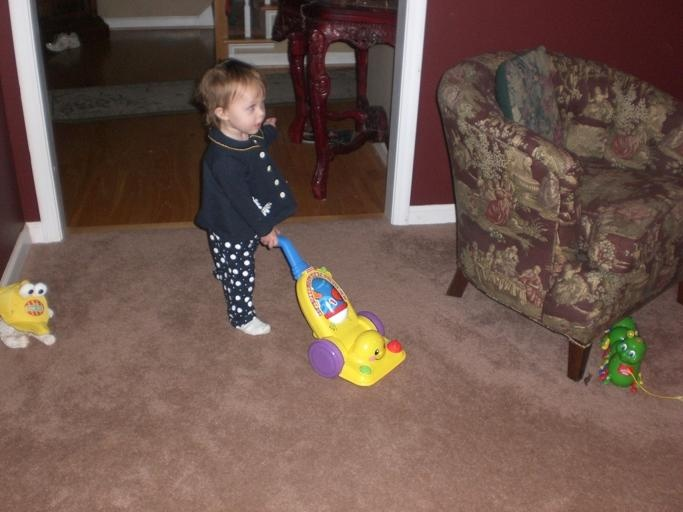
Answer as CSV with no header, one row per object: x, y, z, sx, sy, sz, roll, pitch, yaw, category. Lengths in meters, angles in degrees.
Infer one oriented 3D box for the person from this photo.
-0.397,-0.213,2.508,0.415,1.123,0.416,-2,32,-4,person

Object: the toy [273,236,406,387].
-0.076,0.167,2.550,0.726,0.496,0.357,23,33,33,toy

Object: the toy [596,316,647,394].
1.144,0.396,2.548,0.176,0.305,0.175,8,8,9,toy

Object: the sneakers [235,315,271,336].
-0.385,0.300,2.679,0.127,0.051,0.074,4,23,29,sneakers
